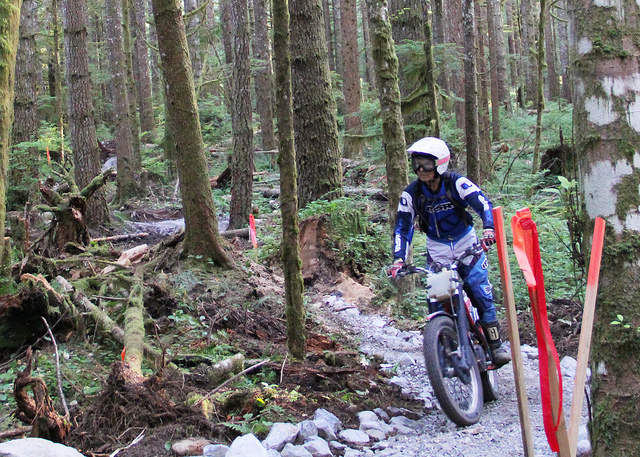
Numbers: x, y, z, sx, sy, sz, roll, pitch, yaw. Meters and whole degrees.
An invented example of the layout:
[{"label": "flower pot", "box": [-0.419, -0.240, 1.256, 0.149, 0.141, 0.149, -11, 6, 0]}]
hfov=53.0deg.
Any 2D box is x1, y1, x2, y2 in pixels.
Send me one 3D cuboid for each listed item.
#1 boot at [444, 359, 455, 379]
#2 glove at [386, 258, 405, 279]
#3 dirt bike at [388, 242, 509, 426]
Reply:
[{"label": "boot", "box": [1.460, 1.589, 7.317, 0.058, 0.189, 0.133, -8, -1, 34]}, {"label": "glove", "box": [0.915, 0.466, 7.695, 0.311, 0.126, 0.130, -58, 9, -24]}, {"label": "dirt bike", "box": [1.922, 1.314, 8.316, 1.304, 2.005, 3.206, -18, -15, 24]}]
